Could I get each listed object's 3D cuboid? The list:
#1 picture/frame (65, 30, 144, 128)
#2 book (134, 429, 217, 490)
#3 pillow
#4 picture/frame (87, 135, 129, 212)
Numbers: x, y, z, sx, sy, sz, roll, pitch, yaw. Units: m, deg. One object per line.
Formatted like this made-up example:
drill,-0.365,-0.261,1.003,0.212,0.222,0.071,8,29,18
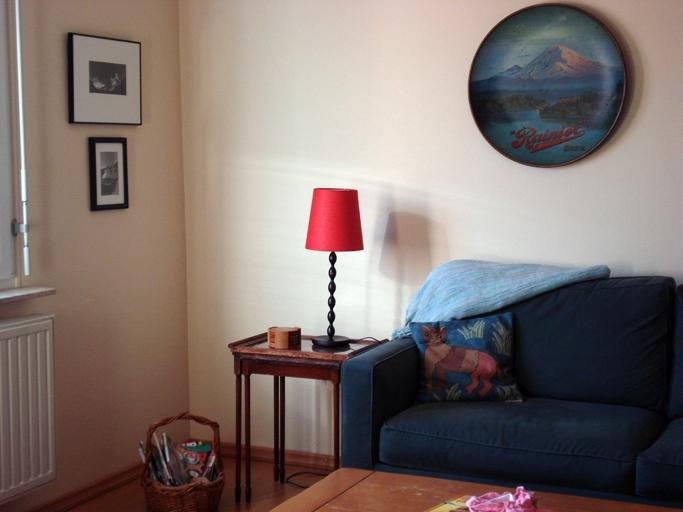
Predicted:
picture/frame,-1.205,-0.890,2.864,0.023,0.462,0.422,3,7,34
book,-0.833,1.013,2.764,0.413,0.166,0.530,1,-5,-13
pillow,0.563,0.472,2.512,0.436,0.329,0.152,-2,-31,4
picture/frame,-1.212,-0.424,2.909,0.020,0.376,0.218,3,8,34
